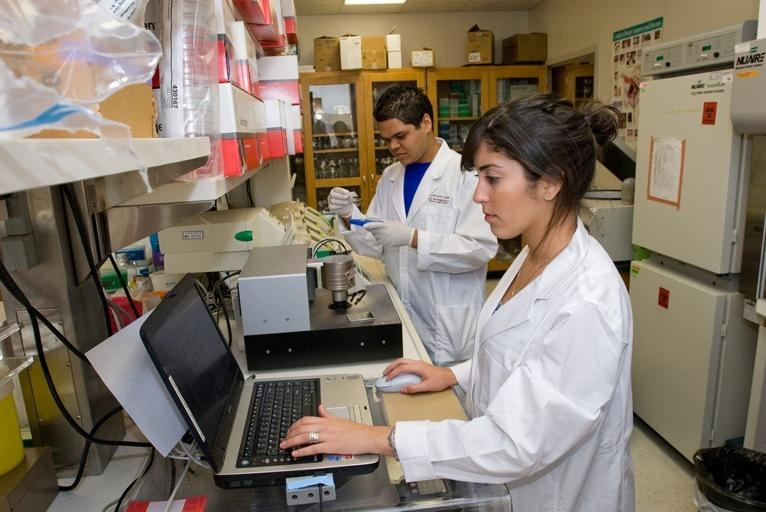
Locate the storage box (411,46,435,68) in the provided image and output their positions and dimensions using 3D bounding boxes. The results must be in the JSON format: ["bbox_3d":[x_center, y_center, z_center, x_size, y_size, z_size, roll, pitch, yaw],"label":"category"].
[{"bbox_3d":[0.407,-2.084,5.292,0.217,0.152,0.225,-1,19,3],"label":"storage box"}]

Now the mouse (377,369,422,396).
[{"bbox_3d":[0.049,0.404,1.628,0.106,0.037,0.066,-1,15,-12],"label":"mouse"}]

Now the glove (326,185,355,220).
[{"bbox_3d":[-0.219,-0.262,2.637,0.114,0.162,0.090,19,5,12],"label":"glove"}]

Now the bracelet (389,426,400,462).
[{"bbox_3d":[0.027,0.470,1.286,0.026,0.068,0.053,-1,12,-2],"label":"bracelet"}]

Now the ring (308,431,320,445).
[{"bbox_3d":[-0.172,0.458,1.286,0.025,0.007,0.026,7,52,-9],"label":"ring"}]

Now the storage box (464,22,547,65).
[{"bbox_3d":[1.341,-2.284,5.558,0.856,0.425,0.450,1,12,6],"label":"storage box"}]

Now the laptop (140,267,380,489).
[{"bbox_3d":[-0.302,0.287,1.410,0.503,0.429,0.597,-4,8,-7],"label":"laptop"}]

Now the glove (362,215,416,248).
[{"bbox_3d":[0.029,-0.102,2.402,0.175,0.059,0.133,24,8,-27],"label":"glove"}]
